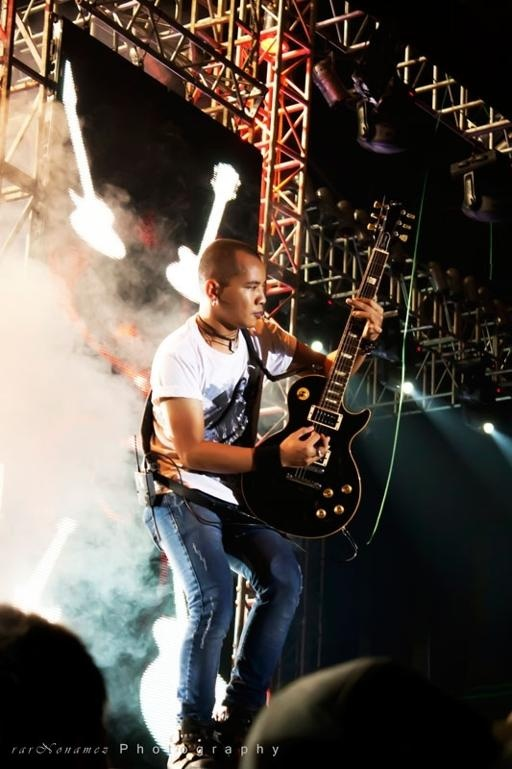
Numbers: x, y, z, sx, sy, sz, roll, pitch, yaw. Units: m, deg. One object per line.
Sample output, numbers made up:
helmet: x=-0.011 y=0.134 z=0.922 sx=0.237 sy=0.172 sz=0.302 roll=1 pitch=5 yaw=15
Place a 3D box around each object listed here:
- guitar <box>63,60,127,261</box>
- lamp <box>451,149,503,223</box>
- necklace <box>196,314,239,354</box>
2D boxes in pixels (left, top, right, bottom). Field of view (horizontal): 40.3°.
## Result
guitar: x=-1.106 y=-1.393 z=4.512 sx=0.151 sy=1.119 sz=0.371 roll=0 pitch=12 yaw=32
lamp: x=2.834 y=-2.438 z=8.801 sx=0.620 sy=0.729 sz=0.644 roll=-5 pitch=6 yaw=41
necklace: x=-0.188 y=-0.229 z=3.335 sx=0.197 sy=0.060 sz=0.143 roll=39 pitch=6 yaw=6
